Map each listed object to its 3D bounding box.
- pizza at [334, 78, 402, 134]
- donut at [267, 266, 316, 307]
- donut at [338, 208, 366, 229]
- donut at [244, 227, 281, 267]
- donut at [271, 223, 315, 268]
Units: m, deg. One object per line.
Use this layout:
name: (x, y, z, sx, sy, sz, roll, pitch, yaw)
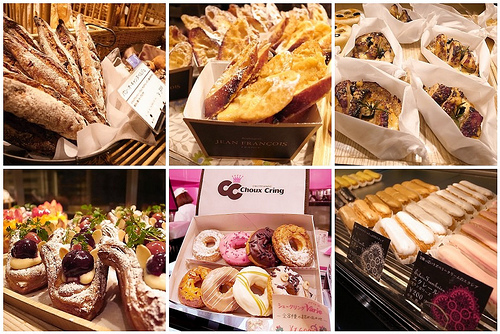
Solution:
pizza: (0.586, -0.299, 1.722, 0.340, 0.249, 0.104, 16, -25, 2)
donut: (0.199, 0.595, 1.673, 0.240, 0.149, 0.140, -2, 10, -16)
donut: (0.610, 0.305, 1.963, 0.103, 0.093, 0.139, -1, 10, -13)
donut: (0.073, 0.432, 1.817, 0.193, 0.170, 0.216, 1, 10, 2)
donut: (0.216, 0.427, 1.772, 0.213, 0.214, 0.063, 7, -35, -40)
